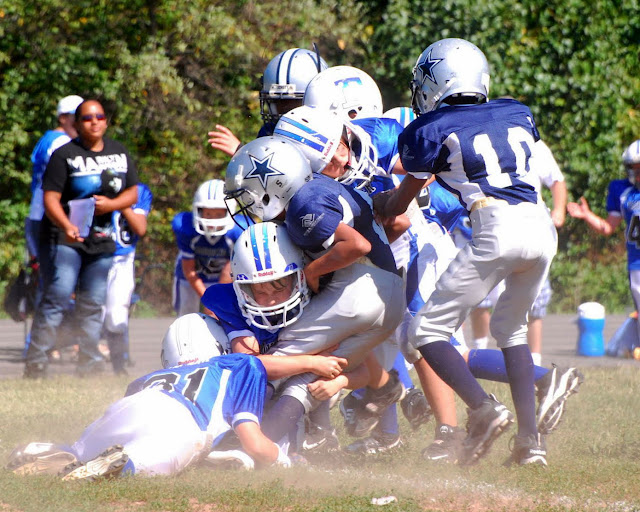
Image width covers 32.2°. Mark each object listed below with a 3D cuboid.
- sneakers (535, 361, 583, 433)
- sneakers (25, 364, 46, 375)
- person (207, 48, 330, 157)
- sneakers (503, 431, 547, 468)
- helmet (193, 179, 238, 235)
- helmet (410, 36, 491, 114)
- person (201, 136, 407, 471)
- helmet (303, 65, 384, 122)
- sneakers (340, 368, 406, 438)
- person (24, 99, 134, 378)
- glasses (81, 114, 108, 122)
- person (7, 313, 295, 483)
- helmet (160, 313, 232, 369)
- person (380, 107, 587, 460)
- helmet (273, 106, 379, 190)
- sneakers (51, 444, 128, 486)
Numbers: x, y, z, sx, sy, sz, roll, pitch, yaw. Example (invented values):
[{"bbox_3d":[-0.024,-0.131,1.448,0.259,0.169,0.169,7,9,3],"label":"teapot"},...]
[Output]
[{"bbox_3d":[1.580,0.909,7.397,0.242,0.195,0.532,-21,20,44],"label":"sneakers"},{"bbox_3d":[-2.262,0.911,8.808,0.095,0.097,0.112,4,-13,-15],"label":"sneakers"},{"bbox_3d":[-0.247,-1.264,8.543,0.641,0.576,1.088,20,55,37],"label":"person"},{"bbox_3d":[1.290,1.221,7.068,0.207,0.261,0.561,7,-14,-10],"label":"sneakers"},{"bbox_3d":[-0.911,-0.445,9.870,0.357,0.446,0.513,-1,14,-1],"label":"helmet"},{"bbox_3d":[0.853,-1.177,7.229,0.465,0.570,0.631,-2,17,-15],"label":"helmet"},{"bbox_3d":[0.006,0.206,7.170,1.239,2.150,0.903,-6,-6,-30],"label":"person"},{"bbox_3d":[0.141,-1.125,7.854,0.549,0.497,0.439,-3,6,-14],"label":"helmet"},{"bbox_3d":[0.322,1.044,7.685,0.275,0.237,0.650,0,-39,-28],"label":"sneakers"},{"bbox_3d":[-1.904,-0.136,9.089,0.719,2.212,0.904,15,18,31],"label":"person"},{"bbox_3d":[-1.812,-1.126,8.942,0.103,0.084,0.244,4,5,41],"label":"glasses"},{"bbox_3d":[-0.807,0.856,6.616,0.719,0.554,1.251,9,8,42],"label":"person"},{"bbox_3d":[-0.839,0.582,7.167,0.388,0.474,0.498,1,2,-9],"label":"helmet"},{"bbox_3d":[0.982,0.179,7.225,1.188,2.373,1.158,-3,-2,23],"label":"person"},{"bbox_3d":[0.031,-0.717,7.243,0.613,0.414,0.445,21,-34,5],"label":"helmet"},{"bbox_3d":[-1.281,1.208,6.337,0.304,0.078,0.203,-24,16,-9],"label":"sneakers"}]
